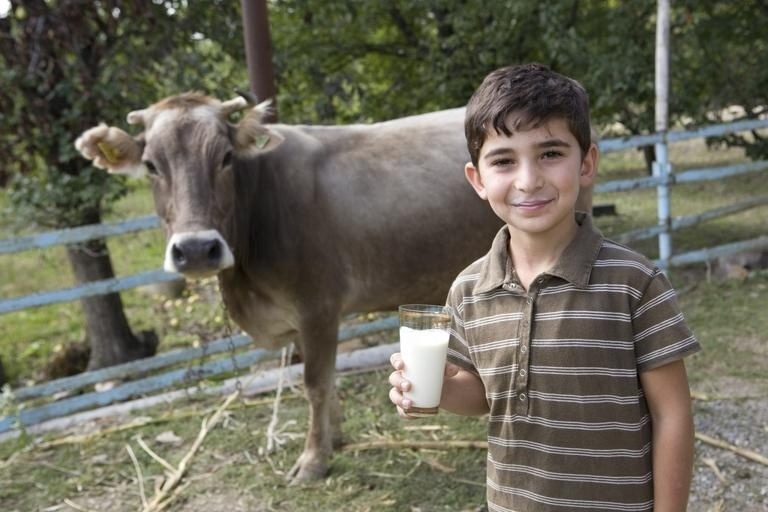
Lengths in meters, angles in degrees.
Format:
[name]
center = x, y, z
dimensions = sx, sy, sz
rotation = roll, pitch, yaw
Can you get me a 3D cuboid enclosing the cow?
[cow]
center = -0.366, 0.305, 5.800
dimensions = 2.678, 1.932, 0.912
rotation = -6, 11, -16
